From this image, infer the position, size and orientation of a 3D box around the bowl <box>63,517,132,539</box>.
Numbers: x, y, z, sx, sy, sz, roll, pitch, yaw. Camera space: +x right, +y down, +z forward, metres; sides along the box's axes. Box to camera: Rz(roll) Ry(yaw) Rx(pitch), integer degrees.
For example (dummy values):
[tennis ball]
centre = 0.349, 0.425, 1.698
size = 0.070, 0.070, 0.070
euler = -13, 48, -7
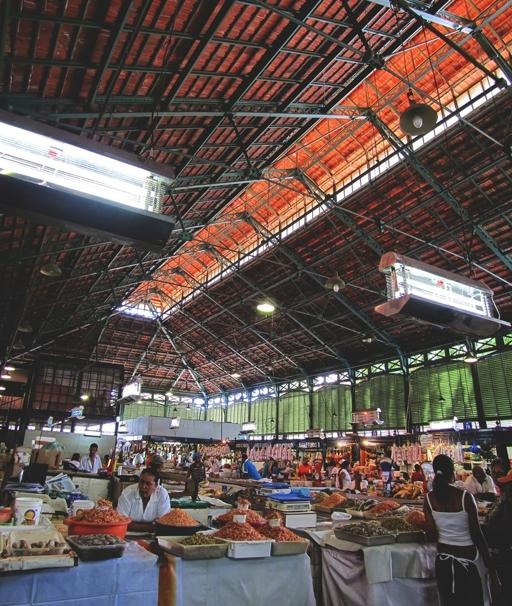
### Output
[bowl]
centre = -0.928, 1.332, 2.733
size = 0.208, 0.072, 0.195
euler = -4, -25, -2
